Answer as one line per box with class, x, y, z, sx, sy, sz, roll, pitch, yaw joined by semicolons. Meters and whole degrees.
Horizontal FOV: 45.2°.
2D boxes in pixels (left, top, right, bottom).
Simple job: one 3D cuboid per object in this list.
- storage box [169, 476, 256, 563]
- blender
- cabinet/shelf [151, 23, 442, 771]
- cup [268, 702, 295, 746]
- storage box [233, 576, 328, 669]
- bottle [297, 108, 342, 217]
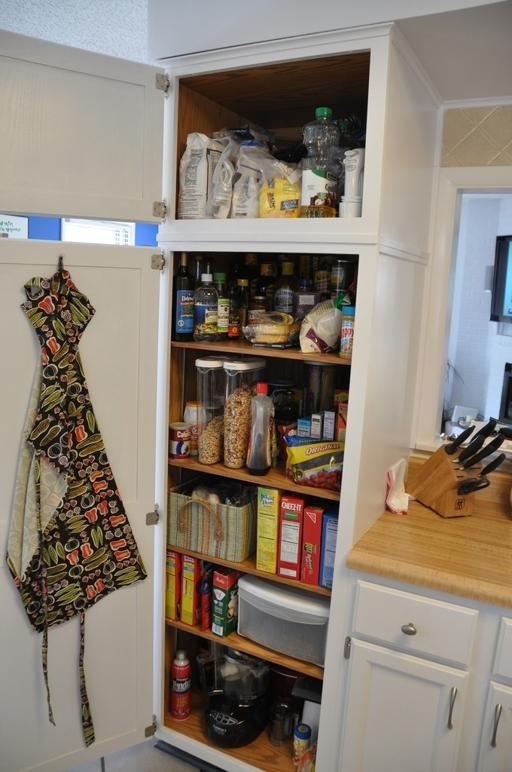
storage box;-0.117;0.364;1.638;0.189;0.138;0.194;8;10;31
blender;-0.052;0.898;1.785;0.157;0.215;0.236;7;-3;24
cabinet/shelf;0.172;-0.045;1.522;0.805;1.468;0.504;-6;12;-22
cup;0.064;0.937;1.728;0.061;0.104;0.106;0;16;-7
storage box;0.087;0.598;1.642;0.259;0.177;0.154;11;19;24
bottle;0.149;-0.504;1.400;0.071;0.236;0.074;0;18;0
